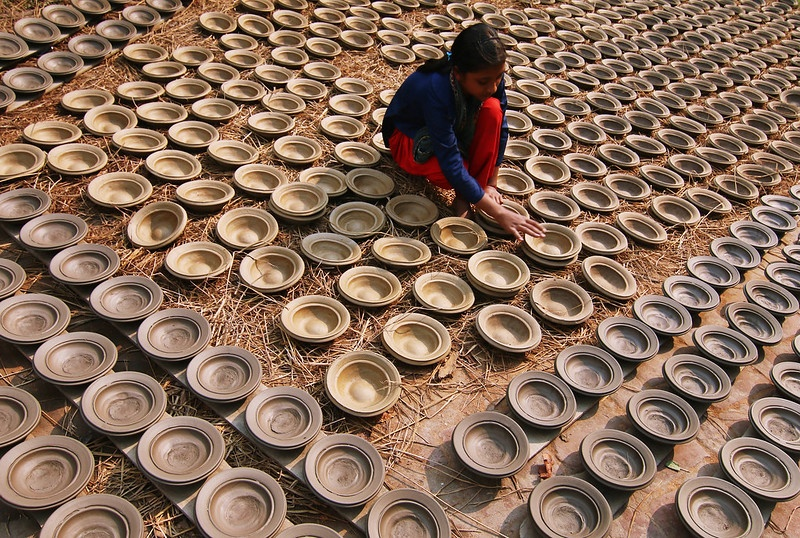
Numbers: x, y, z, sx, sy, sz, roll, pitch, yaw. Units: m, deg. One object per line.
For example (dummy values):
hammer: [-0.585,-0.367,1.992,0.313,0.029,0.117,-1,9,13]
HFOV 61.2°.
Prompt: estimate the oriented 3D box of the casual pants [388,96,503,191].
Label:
casual pants: [0.407,-0.897,4.977,0.810,0.352,0.548,30,65,-2]

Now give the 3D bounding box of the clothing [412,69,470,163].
clothing: [0.291,-1.103,4.943,0.433,0.509,0.206,-7,33,-16]
